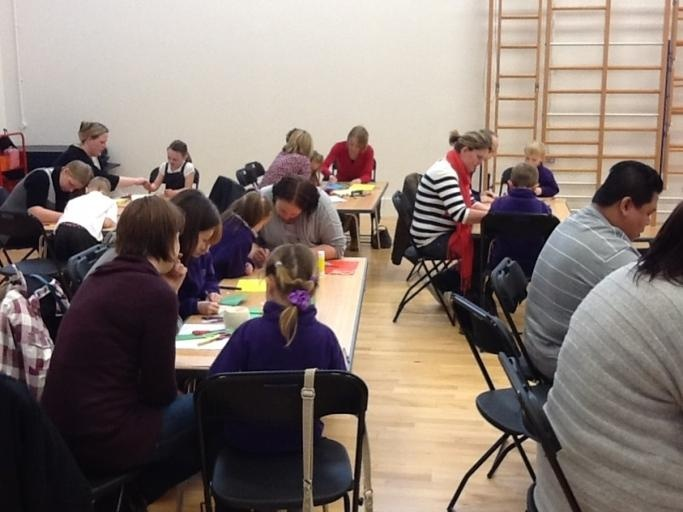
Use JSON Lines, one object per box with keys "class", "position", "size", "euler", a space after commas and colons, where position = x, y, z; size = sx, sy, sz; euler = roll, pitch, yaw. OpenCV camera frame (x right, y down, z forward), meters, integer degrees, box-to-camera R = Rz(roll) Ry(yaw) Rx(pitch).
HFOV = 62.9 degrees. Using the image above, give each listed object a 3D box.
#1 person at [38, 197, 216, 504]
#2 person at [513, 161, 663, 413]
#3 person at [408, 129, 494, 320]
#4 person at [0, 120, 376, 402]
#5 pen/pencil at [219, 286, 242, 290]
{"class": "person", "position": [-0.759, 0.277, 1.900], "size": [0.484, 0.928, 0.282], "euler": [-3, 14, -19]}
{"class": "person", "position": [1.156, 0.180, 2.468], "size": [0.518, 1.162, 0.474], "euler": [4, 8, 8]}
{"class": "person", "position": [0.935, -0.257, 4.439], "size": [0.689, 1.414, 0.554], "euler": [4, 8, 20]}
{"class": "person", "position": [-0.841, -0.080, 3.257], "size": [0.983, 0.677, 2.621], "euler": [2, 24, 1]}
{"class": "pen/pencil", "position": [-0.583, 0.167, 2.910], "size": [0.101, 0.017, 0.013], "euler": [2, 3, -5]}
